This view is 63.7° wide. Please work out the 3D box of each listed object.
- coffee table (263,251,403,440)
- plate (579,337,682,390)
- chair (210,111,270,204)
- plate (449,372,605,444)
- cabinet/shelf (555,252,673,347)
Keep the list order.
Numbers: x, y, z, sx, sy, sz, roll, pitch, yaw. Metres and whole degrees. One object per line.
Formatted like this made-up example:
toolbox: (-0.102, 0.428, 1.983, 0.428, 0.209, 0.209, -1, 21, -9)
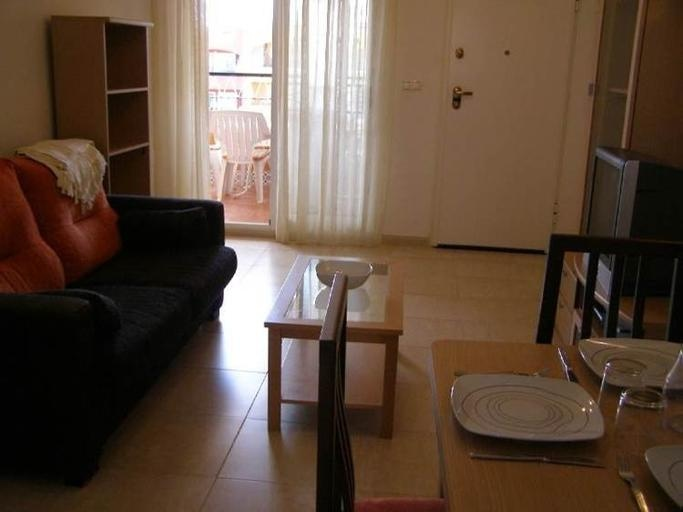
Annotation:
coffee table: (-0.040, 0.393, 2.962, 0.584, 0.577, 1.153, 2, 17, -1)
plate: (0.779, 0.279, 1.503, 0.153, 0.025, 0.170, 3, 15, 22)
chair: (-1.235, -1.227, 6.755, 0.586, 1.062, 0.713, 2, 12, 2)
plate: (0.436, 0.359, 1.314, 0.200, 0.033, 0.173, 6, 26, 0)
cabinet/shelf: (1.075, 0.162, 2.131, 0.122, 0.355, 0.354, 4, 18, 10)
